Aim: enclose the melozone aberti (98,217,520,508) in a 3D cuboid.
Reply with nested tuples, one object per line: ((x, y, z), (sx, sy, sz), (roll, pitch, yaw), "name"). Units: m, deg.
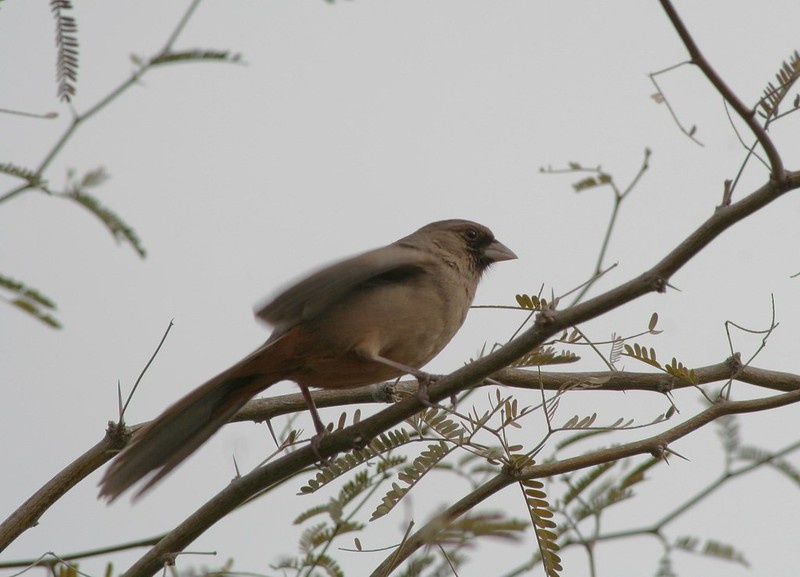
((-0.327, 0.330, 5.300), (2.376, 0.987, 0.764), (-10, -17, -14), "melozone aberti")
